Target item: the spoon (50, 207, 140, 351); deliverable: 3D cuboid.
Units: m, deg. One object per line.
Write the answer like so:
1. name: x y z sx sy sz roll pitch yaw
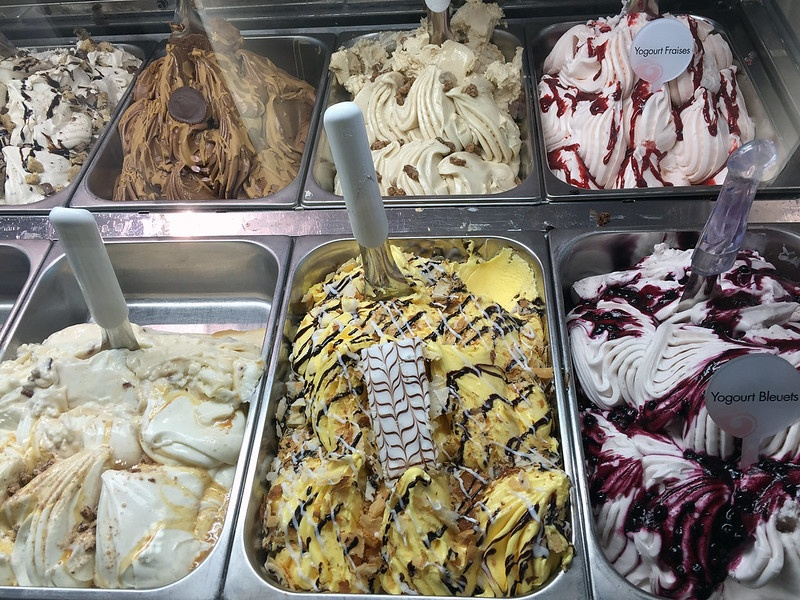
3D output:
1. spoon: -0.782 -0.043 1.704 0.128 0.476 0.110 -25 43 -18

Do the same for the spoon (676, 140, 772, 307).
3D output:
1. spoon: 0.807 -0.179 1.633 0.128 0.451 0.154 16 46 27

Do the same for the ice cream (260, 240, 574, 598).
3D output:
1. ice cream: 0.046 0.250 1.754 0.754 0.361 0.936 -2 43 9

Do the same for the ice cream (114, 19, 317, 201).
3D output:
1. ice cream: -0.647 -0.606 2.294 0.625 0.320 0.729 -7 80 -10

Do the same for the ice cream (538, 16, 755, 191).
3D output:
1. ice cream: 0.856 -0.708 2.253 0.737 0.385 0.711 -6 42 4

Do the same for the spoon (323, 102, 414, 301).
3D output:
1. spoon: -0.079 -0.236 1.682 0.151 0.600 0.099 -29 44 -22
